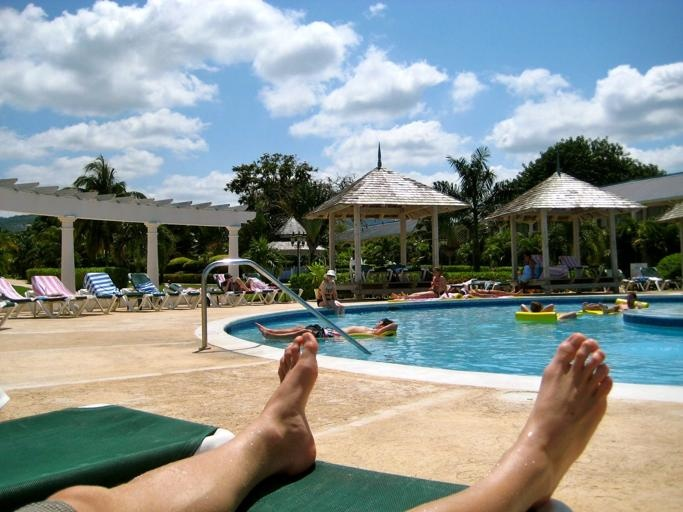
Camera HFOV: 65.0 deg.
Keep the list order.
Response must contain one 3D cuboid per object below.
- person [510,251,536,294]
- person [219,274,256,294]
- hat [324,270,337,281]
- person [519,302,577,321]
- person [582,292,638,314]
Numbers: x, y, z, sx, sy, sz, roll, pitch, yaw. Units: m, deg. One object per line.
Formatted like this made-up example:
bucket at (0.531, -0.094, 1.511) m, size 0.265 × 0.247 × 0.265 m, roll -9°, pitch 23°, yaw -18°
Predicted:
person at (6.520, 0.599, 19.101) m, size 0.756 × 1.371 × 1.550 m, roll -2°, pitch -3°, yaw 21°
person at (-3.442, 0.917, 17.434) m, size 1.189 × 0.642 × 0.529 m, roll -7°, pitch -3°, yaw 7°
hat at (-0.262, 0.429, 12.940) m, size 0.239 × 0.142 × 0.300 m, roll 1°, pitch -18°, yaw -1°
person at (4.566, 1.228, 11.894) m, size 1.163 × 0.406 × 0.836 m, roll 1°, pitch -4°, yaw -32°
person at (6.408, 1.207, 12.748) m, size 1.087 × 0.374 × 0.769 m, roll -1°, pitch -1°, yaw -18°
